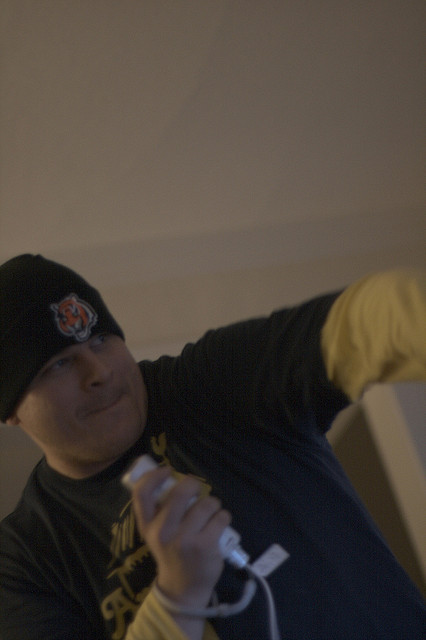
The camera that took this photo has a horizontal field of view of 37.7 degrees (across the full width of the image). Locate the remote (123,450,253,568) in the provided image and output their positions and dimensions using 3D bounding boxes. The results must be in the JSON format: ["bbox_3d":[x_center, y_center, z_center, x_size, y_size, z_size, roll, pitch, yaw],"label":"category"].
[{"bbox_3d":[-0.040,0.291,0.942,0.063,0.240,0.081,-39,-1,-14],"label":"remote"}]
